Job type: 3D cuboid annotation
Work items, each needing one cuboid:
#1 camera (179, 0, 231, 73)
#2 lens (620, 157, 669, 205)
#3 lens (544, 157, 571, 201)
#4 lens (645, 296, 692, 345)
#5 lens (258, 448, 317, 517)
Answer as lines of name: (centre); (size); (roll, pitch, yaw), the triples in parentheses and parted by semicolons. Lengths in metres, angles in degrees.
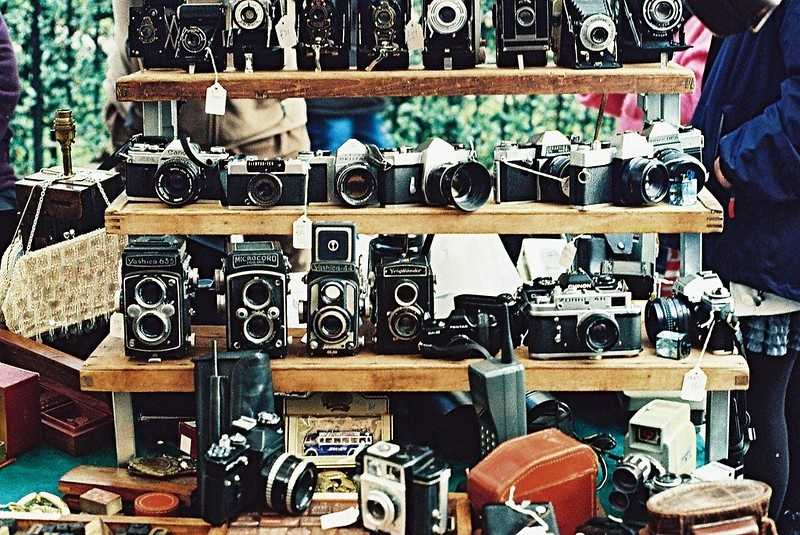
camera: (-0.932, -1.092, 4.196); (0.235, 0.331, 0.091); (1, 4, 18)
lens: (1.119, -0.388, 4.039); (0.223, 0.215, 0.088); (-1, 4, -16)
lens: (0.728, -0.408, 4.109); (0.100, 0.210, 0.170); (7, 11, 35)
lens: (1.271, 0.272, 4.227); (0.221, 0.282, 0.254); (3, -1, 10)
lens: (-0.459, 0.902, 3.731); (0.178, 0.250, 0.240); (13, 3, 15)
